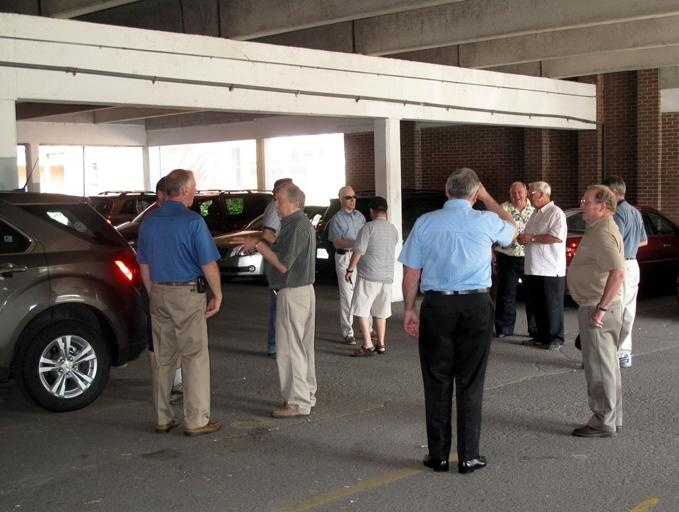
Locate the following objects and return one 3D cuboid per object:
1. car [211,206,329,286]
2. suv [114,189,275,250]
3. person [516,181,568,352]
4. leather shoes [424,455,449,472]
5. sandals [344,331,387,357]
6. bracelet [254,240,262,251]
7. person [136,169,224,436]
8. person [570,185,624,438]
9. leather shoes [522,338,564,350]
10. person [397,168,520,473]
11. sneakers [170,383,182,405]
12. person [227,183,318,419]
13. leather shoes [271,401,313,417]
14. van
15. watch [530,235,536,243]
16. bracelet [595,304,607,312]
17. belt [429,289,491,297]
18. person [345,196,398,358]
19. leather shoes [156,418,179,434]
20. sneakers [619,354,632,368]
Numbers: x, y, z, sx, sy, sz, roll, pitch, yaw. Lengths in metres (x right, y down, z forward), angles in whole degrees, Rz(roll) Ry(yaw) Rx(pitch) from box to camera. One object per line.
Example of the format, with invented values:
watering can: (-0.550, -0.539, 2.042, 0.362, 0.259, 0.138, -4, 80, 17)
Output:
car: (-1.560, -0.286, 14.908, 2.977, 1.358, 1.317, -1, 1, -41)
suv: (-3.575, -1.207, 16.695, 3.488, 1.574, 1.838, -2, 3, -18)
person: (2.778, 0.100, 8.899, 0.602, 2.239, 0.620, 1, 6, 19)
leather shoes: (0.768, 1.638, 5.223, 0.089, 0.110, 0.226, -7, 14, -30)
sandals: (0.405, 1.207, 8.773, 0.583, 0.256, 0.196, 2, -4, -33)
bracelet: (-0.762, -0.108, 6.071, 0.054, 0.082, 0.082, -2, 20, -10)
person: (-1.472, 0.418, 5.980, 0.806, 2.384, 0.380, 1, 6, 15)
person: (2.351, 0.471, 5.935, 0.512, 2.192, 0.660, 1, 7, 20)
leather shoes: (2.776, 1.202, 8.922, 0.526, 0.242, 0.183, -10, -3, 43)
person: (0.887, 0.510, 5.141, 0.784, 2.365, 0.397, 1, 6, 14)
sneakers: (-1.730, 1.445, 6.929, 0.097, 0.131, 0.292, 2, 6, -9)
person: (-0.502, 0.435, 6.319, 0.562, 2.248, 0.392, -2, 6, -7)
leather shoes: (-0.487, 1.505, 6.416, 0.329, 0.147, 0.158, 6, -4, -1)
van: (0.975, -0.491, 14.292, 2.923, 1.593, 1.707, -3, 7, -8)
watch: (2.604, -0.243, 8.706, 0.052, 0.077, 0.019, 9, 3, 43)
bracelet: (2.307, 0.449, 5.721, 0.049, 0.039, 0.066, 31, 8, 37)
belt: (0.916, 0.269, 5.012, 0.478, 0.045, 0.105, -1, 7, -2)
person: (0.454, 0.259, 8.525, 0.606, 2.055, 0.259, -1, 6, 0)
leather shoes: (-1.600, 1.556, 6.076, 0.084, 0.095, 0.237, 5, 9, 28)
sneakers: (3.430, 1.237, 7.779, 0.207, 0.098, 0.126, -7, 9, -20)
